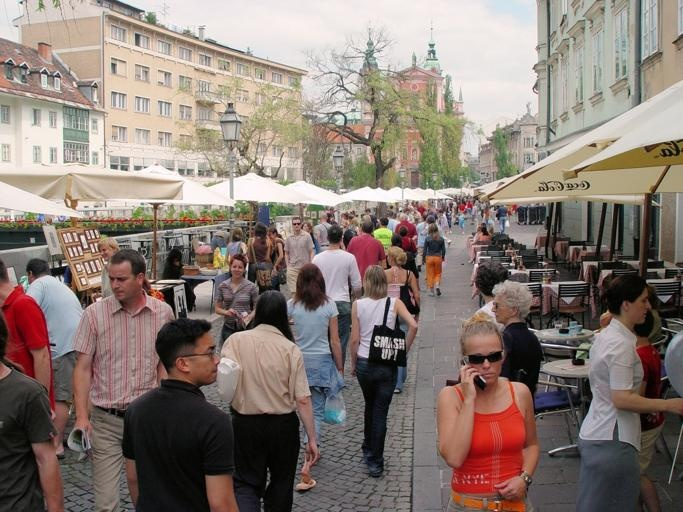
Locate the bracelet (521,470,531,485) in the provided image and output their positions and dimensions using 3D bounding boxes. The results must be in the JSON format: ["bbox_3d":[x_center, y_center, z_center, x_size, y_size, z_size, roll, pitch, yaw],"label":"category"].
[{"bbox_3d":[1.227,1.489,4.936,0.040,0.064,0.059,-27,36,13],"label":"bracelet"}]

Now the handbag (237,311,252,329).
[{"bbox_3d":[-1.275,0.851,9.646,0.193,0.068,0.203,-12,14,9],"label":"handbag"}]

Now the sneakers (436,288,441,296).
[{"bbox_3d":[2.462,0.921,18.815,0.075,0.237,0.093,-5,-5,-8],"label":"sneakers"}]

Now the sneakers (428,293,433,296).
[{"bbox_3d":[2.305,1.003,19.177,0.064,0.093,0.206,-1,-2,9],"label":"sneakers"}]

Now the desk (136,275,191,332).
[{"bbox_3d":[-2.776,0.655,12.012,1.111,0.757,1.136,-3,5,-32],"label":"desk"}]

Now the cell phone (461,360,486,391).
[{"bbox_3d":[0.917,0.807,4.950,0.141,0.164,0.043,7,-23,4],"label":"cell phone"}]
